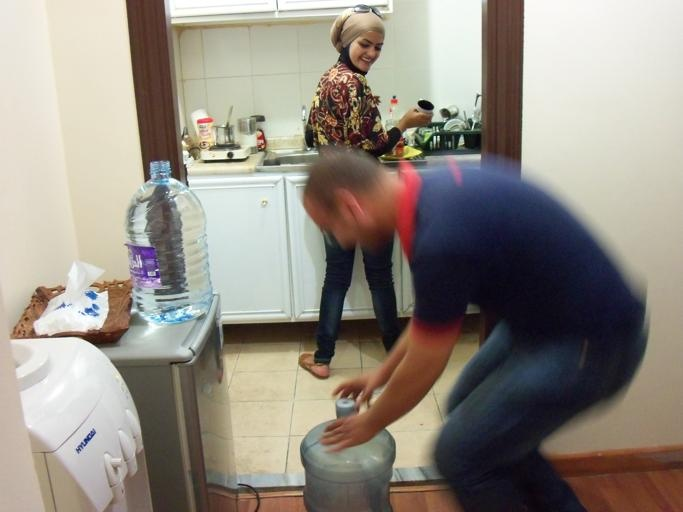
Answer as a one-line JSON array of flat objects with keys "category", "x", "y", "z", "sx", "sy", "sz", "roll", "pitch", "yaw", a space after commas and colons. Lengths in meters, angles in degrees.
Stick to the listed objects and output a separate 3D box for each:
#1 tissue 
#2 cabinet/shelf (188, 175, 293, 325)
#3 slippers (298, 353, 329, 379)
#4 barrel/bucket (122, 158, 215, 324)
[{"category": "tissue ", "x": -0.725, "y": 0.128, "z": 1.454, "sx": 0.143, "sy": 0.090, "sz": 0.208, "roll": 3, "pitch": 40, "yaw": -9}, {"category": "cabinet/shelf", "x": -0.587, "y": 0.038, "z": 3.061, "sx": 0.630, "sy": 0.840, "sz": 0.568, "roll": -7, "pitch": -15, "yaw": 3}, {"category": "slippers", "x": -0.146, "y": 0.551, "z": 2.801, "sx": 0.073, "sy": 0.069, "sz": 0.185, "roll": -11, "pitch": 23, "yaw": -27}, {"category": "barrel/bucket", "x": -0.554, "y": -0.065, "z": 1.682, "sx": 0.252, "sy": 0.445, "sz": 0.496, "roll": -6, "pitch": 21, "yaw": -15}]
